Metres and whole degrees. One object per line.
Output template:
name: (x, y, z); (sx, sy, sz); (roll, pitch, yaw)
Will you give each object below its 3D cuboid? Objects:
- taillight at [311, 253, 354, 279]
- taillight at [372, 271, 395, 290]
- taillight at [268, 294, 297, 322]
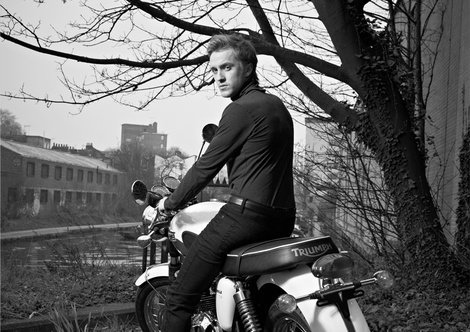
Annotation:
taillight: (0.873, 0.904, 4.280); (0.383, 0.226, 0.210); (-11, -20, 1)
taillight: (1.348, 1.057, 4.396); (0.194, 0.147, 0.173); (-6, -20, -11)
taillight: (0.439, 1.293, 4.340); (0.249, 0.169, 0.476); (-10, -21, -2)
